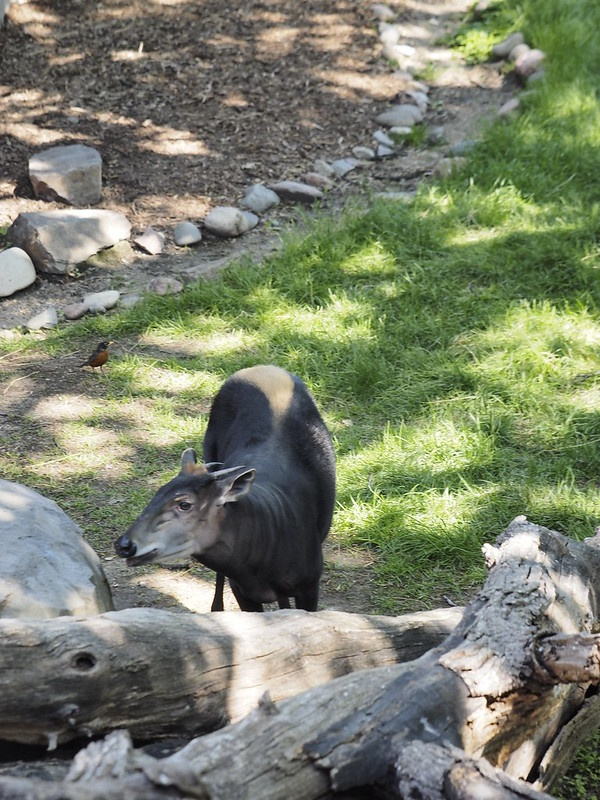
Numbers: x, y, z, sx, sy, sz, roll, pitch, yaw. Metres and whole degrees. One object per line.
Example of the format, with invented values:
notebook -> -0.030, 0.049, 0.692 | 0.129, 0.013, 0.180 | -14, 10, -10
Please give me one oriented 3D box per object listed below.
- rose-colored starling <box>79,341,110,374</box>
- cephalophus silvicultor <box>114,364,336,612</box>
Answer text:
rose-colored starling -> -1.321, -0.287, 6.568 | 0.174, 0.201, 0.341 | 2, 10, -11
cephalophus silvicultor -> -0.221, 0.362, 4.270 | 0.733, 0.714, 1.276 | 4, 17, -3
